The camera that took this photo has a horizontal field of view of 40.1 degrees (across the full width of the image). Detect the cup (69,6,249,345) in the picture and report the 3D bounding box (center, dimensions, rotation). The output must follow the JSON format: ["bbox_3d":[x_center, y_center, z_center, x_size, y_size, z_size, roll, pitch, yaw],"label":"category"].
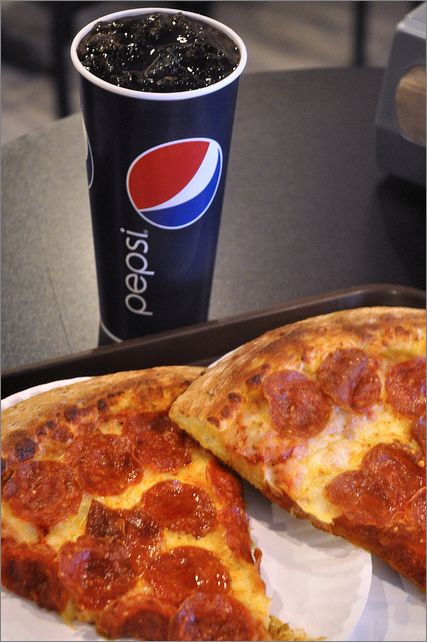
[{"bbox_3d":[-0.051,-0.103,0.572,0.146,0.343,0.127,-5,34,-13],"label":"cup"}]
